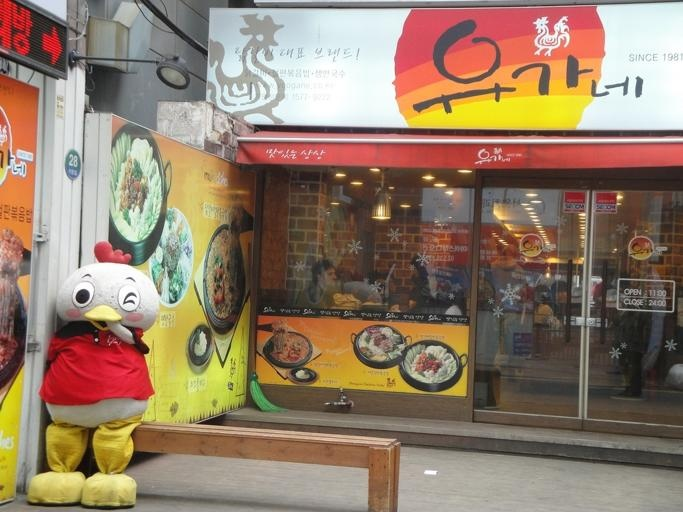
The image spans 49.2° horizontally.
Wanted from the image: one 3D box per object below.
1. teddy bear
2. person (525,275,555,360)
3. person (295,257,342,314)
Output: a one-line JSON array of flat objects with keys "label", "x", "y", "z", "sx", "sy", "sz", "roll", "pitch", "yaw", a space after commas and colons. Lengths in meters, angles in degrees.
[{"label": "teddy bear", "x": -2.149, "y": 1.022, "z": 6.535, "sx": 0.971, "sy": 2.297, "sz": 0.452, "roll": 4, "pitch": -2, "yaw": -16}, {"label": "person", "x": 2.437, "y": 0.778, "z": 9.087, "sx": 0.227, "sy": 0.867, "sz": 0.353, "roll": 2, "pitch": 2, "yaw": 27}, {"label": "person", "x": -0.347, "y": 0.228, "z": 9.752, "sx": 0.895, "sy": 0.810, "sz": 0.510, "roll": 9, "pitch": 7, "yaw": 39}]
